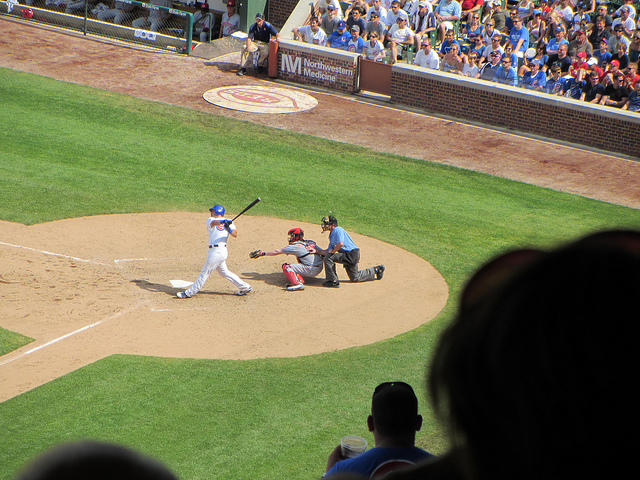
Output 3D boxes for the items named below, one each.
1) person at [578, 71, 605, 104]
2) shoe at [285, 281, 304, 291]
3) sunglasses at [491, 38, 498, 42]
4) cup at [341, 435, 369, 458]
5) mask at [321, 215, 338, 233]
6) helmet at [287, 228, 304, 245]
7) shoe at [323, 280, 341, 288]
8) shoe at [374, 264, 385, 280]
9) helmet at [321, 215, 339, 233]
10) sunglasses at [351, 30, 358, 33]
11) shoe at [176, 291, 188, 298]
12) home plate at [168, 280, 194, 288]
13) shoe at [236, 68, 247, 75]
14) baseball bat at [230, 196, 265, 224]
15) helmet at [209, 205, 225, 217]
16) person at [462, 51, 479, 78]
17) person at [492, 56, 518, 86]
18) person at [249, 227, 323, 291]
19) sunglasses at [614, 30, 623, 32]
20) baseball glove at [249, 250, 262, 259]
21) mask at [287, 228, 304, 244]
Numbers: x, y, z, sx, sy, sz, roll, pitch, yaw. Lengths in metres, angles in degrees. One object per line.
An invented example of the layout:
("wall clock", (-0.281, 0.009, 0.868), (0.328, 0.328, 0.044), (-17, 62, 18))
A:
("person", (8.383, -4.644, 29.780), (1.007, 0.993, 0.971), (8, 12, 24))
("shoe", (-0.596, 1.024, 21.321), (0.294, 0.113, 0.210), (-9, -11, 37))
("sunglasses", (5.526, -6.327, 30.810), (0.236, 0.103, 0.096), (20, 14, 35))
("cup", (0.491, 3.034, 14.380), (0.310, 0.222, 0.322), (9, 10, -2))
("mask", (0.198, -0.366, 21.835), (0.385, 0.334, 0.286), (3, 5, 1))
("helmet", (-0.542, -0.084, 21.868), (0.379, 0.318, 0.299), (8, 1, 13))
("shoe", (0.264, 0.997, 21.713), (0.404, 0.167, 0.141), (4, 9, 9))
("shoe", (1.326, 0.722, 21.774), (0.196, 0.292, 0.145), (7, 39, 0))
("helmet", (0.201, -0.353, 21.841), (0.406, 0.337, 0.324), (4, 4, 6))
("sunglasses", (1.129, -7.048, 32.850), (0.215, 0.078, 0.100), (18, 13, 30))
("shoe", (-2.908, 1.161, 20.454), (0.223, 0.139, 0.153), (11, 12, -7))
("home plate", (-3.031, 0.949, 21.006), (0.474, 0.116, 0.316), (9, 12, -12))
("shoe", (-2.720, -5.837, 33.707), (0.192, 0.247, 0.450), (20, 14, 26))
("baseball bat", (-1.830, -0.714, 23.879), (0.177, 1.127, 0.152), (53, 2, -7))
("helmet", (-2.215, -0.647, 20.864), (0.295, 0.184, 0.361), (10, 12, -10))
("person", (4.952, -5.676, 31.392), (0.564, 0.842, 0.337), (19, 13, 24))
("person", (5.887, -5.354, 30.791), (0.751, 0.865, 0.509), (13, 36, 12))
("person", (-0.786, 0.427, 21.950), (1.719, 1.208, 1.161), (4, 1, 18))
("sunglasses", (9.164, -6.401, 29.791), (0.193, 0.090, 0.078), (19, 13, 31))
("baseball glove", (-1.469, 0.331, 21.927), (0.230, 0.107, 0.347), (-4, -1, -6))
("mask", (-0.518, -0.088, 21.845), (0.363, 0.293, 0.282), (6, -1, 10))
